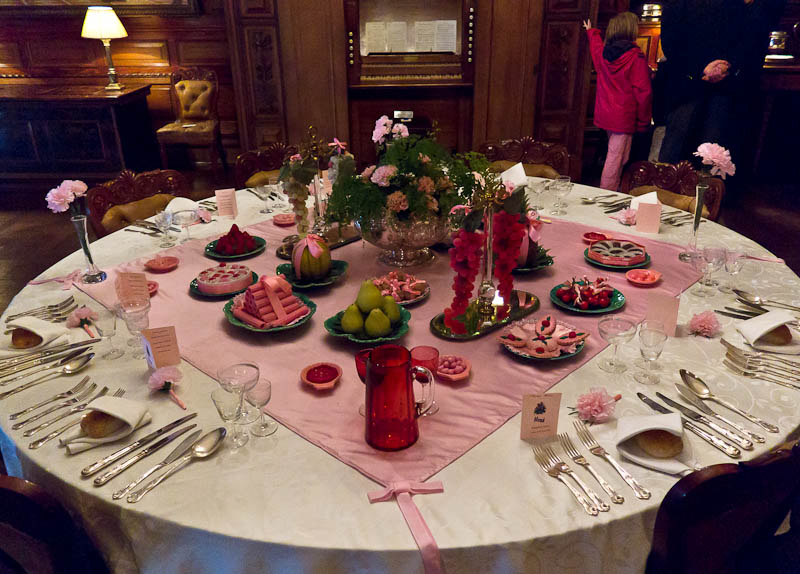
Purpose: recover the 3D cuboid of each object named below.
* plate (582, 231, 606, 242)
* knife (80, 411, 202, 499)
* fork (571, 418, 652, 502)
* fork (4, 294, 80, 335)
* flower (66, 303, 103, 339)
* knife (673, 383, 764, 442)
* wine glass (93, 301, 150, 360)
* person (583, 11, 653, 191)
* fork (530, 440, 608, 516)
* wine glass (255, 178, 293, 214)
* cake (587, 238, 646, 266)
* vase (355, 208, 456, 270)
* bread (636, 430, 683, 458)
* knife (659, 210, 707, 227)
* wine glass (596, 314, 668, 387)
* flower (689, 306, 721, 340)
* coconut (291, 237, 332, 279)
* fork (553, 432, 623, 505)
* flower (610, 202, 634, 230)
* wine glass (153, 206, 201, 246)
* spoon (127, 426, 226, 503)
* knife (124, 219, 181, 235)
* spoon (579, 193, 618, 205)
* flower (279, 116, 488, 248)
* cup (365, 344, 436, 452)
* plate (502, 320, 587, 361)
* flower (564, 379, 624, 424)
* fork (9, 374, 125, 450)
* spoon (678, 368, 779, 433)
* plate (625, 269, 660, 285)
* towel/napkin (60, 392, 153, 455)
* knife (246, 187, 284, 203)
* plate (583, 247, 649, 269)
[{"bbox_3d":[0.908,-0.229,2.598,0.066,0.026,0.065,4,25,14],"label":"plate"},{"bbox_3d":[-0.694,0.437,1.556,0.095,0.039,0.369,17,29,27],"label":"knife"},{"bbox_3d":[0.552,0.460,1.522,0.055,0.051,0.326,-6,34,-17],"label":"fork"},{"bbox_3d":[-1.348,0.104,2.117,0.255,0.038,0.096,-14,51,-14],"label":"fork"},{"bbox_3d":[-1.153,0.134,2.033,0.098,0.050,0.142,-19,51,-38],"label":"flower"},{"bbox_3d":[0.898,0.347,1.642,0.056,0.029,0.400,-20,25,-6],"label":"knife"},{"bbox_3d":[-0.947,0.154,1.896,0.080,0.175,0.180,32,36,31],"label":"wine glass"},{"bbox_3d":[1.979,-1.638,5.099,0.419,1.554,0.560,-7,28,-8],"label":"person"},{"bbox_3d":[0.431,0.487,1.424,0.065,0.033,0.235,-9,33,-21],"label":"fork"},{"bbox_3d":[-0.704,-0.498,3.110,0.185,0.069,0.283,-4,34,-9],"label":"wine glass"},{"bbox_3d":[0.947,-0.152,2.426,0.159,0.037,0.159,16,31,35],"label":"cake"},{"bbox_3d":[0.030,-0.226,2.385,0.259,0.189,0.269,9,16,34],"label":"vase"},{"bbox_3d":[0.694,0.413,1.475,0.081,0.028,0.086,-24,34,-31],"label":"bread"},{"bbox_3d":[1.409,-0.356,2.809,0.298,0.033,0.098,-16,40,-41],"label":"knife"},{"bbox_3d":[0.753,0.204,1.809,0.241,0.171,0.209,2,24,10],"label":"wine glass"},{"bbox_3d":[1.051,0.123,1.937,0.094,0.081,0.097,17,26,40],"label":"flower"},{"bbox_3d":[-0.373,-0.127,2.316,0.153,0.184,0.159,-7,25,3],"label":"coconut"},{"bbox_3d":[0.486,0.467,1.519,0.046,0.047,0.334,-10,29,-12],"label":"fork"},{"bbox_3d":[1.139,-0.367,2.811,0.118,0.078,0.125,-26,39,-23],"label":"flower"},{"bbox_3d":[-1.126,-0.315,2.786,0.196,0.165,0.199,-16,20,-37],"label":"wine glass"},{"bbox_3d":[-0.584,0.470,1.467,0.060,0.049,0.292,27,39,23],"label":"spoon"},{"bbox_3d":[-1.289,-0.304,2.857,0.370,0.031,0.106,12,32,22],"label":"knife"},{"bbox_3d":[1.108,-0.486,3.100,0.200,0.032,0.039,-14,44,-37],"label":"spoon"},{"bbox_3d":[0.008,-0.439,2.281,0.604,0.358,0.621,-11,23,-20],"label":"flower"},{"bbox_3d":[-0.015,0.291,1.556,0.290,0.291,0.178,-1,21,-3],"label":"cup"},{"bbox_3d":[0.471,0.185,1.847,0.170,0.044,0.167,6,24,23],"label":"plate"},{"bbox_3d":[0.575,0.327,1.599,0.111,0.052,0.109,-20,38,-13],"label":"flower"},{"bbox_3d":[-0.961,0.368,1.635,0.090,0.042,0.304,24,37,30],"label":"fork"},{"bbox_3d":[0.934,0.327,1.658,0.071,0.052,0.359,-18,35,-17],"label":"spoon"},{"bbox_3d":[0.992,-0.038,2.256,0.085,0.025,0.082,-9,29,-9],"label":"plate"},{"bbox_3d":[-0.821,0.381,1.542,0.155,0.048,0.162,19,29,22],"label":"towel/napkin"},{"bbox_3d":[-0.753,-0.513,3.124,0.081,0.058,0.383,-1,16,-8],"label":"knife"},{"bbox_3d":[0.936,-0.124,2.390,0.153,0.037,0.151,-4,28,2],"label":"plate"}]
